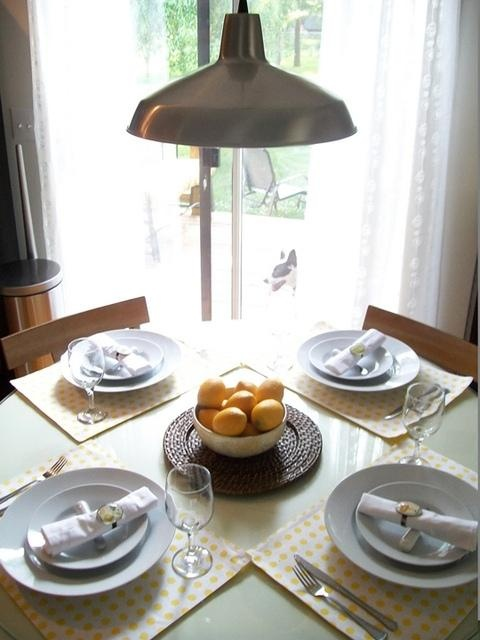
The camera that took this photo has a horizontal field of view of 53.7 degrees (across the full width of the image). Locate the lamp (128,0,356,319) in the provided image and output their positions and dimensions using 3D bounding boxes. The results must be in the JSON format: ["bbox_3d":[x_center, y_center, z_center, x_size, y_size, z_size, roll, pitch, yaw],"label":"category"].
[{"bbox_3d":[0.006,-0.266,0.658,0.219,0.288,0.255,0,25,3],"label":"lamp"}]

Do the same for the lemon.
[{"bbox_3d":[0.001,0.161,0.891,0.109,0.091,0.110,1,5,-3],"label":"lemon"}]

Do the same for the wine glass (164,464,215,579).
[{"bbox_3d":[-0.072,0.288,0.666,0.072,0.165,0.073,16,25,41],"label":"wine glass"}]

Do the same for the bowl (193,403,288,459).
[{"bbox_3d":[-0.015,0.209,0.893,0.150,0.166,0.064,3,59,-26],"label":"bowl"}]

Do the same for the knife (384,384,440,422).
[{"bbox_3d":[0.341,0.167,0.940,0.039,0.009,0.173,10,19,28],"label":"knife"}]

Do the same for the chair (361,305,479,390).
[{"bbox_3d":[0.547,0.081,1.418,0.117,0.220,0.321,-45,57,-13],"label":"chair"}]
